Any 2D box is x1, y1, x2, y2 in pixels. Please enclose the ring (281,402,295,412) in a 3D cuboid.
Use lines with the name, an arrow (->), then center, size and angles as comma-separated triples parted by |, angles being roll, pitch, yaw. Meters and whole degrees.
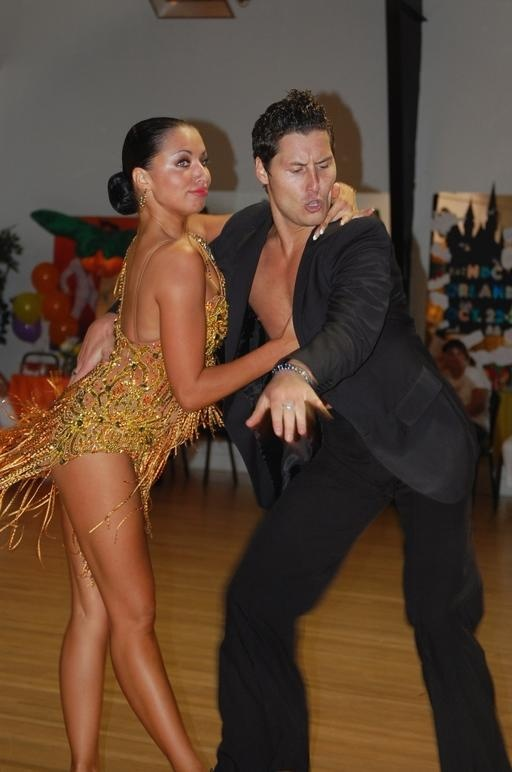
ring -> 0.042, 0.028, 0.825 | 0.011, 0.011, 0.004 | -2, -17, 5

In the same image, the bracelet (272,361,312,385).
bracelet -> 0.053, -0.014, 0.905 | 0.057, 0.036, 0.048 | 1, 18, 11
